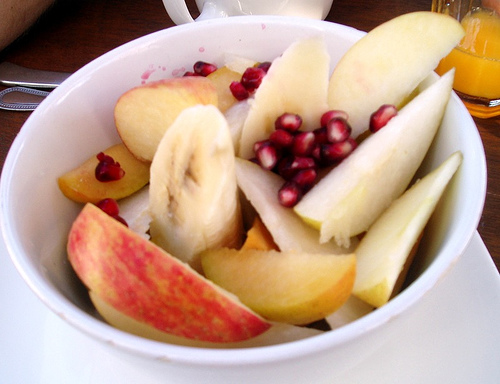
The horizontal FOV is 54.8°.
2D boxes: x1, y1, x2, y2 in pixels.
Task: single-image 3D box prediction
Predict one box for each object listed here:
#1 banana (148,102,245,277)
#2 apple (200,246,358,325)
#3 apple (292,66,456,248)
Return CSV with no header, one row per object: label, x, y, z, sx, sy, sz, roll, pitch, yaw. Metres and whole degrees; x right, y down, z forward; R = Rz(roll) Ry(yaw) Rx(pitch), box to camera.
banana,-0.080,-0.016,0.667,0.112,0.266,0.056,13,25,22
apple,0.028,0.126,0.730,0.256,0.092,0.116,-1,86,25
apple,0.197,-0.060,0.788,0.128,0.153,0.408,39,55,24
